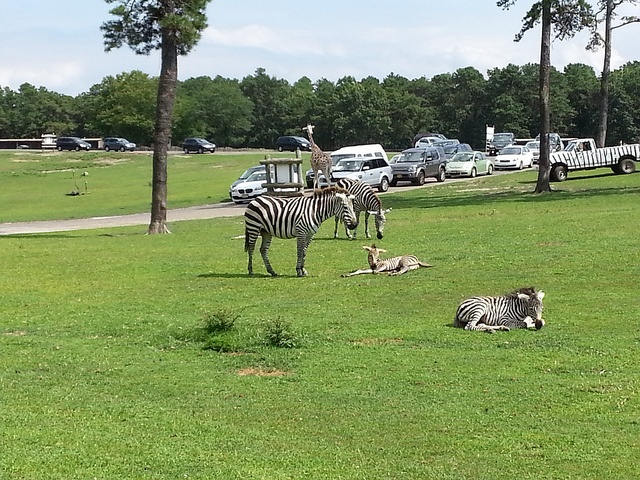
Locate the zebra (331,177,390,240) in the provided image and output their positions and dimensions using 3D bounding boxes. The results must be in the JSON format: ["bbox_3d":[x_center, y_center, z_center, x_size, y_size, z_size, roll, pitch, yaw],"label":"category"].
[{"bbox_3d":[1.733,-1.342,44.513,1.914,2.499,1.862,0,11,-1],"label":"zebra"}]

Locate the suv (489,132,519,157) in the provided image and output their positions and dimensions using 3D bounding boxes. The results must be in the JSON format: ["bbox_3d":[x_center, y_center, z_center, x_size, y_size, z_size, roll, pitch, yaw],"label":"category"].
[{"bbox_3d":[15.410,-8.046,95.130,1.431,1.227,2.871,0,9,20],"label":"suv"}]

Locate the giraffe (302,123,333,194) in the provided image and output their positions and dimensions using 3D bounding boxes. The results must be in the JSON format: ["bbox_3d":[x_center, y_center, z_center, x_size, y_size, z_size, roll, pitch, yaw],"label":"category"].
[{"bbox_3d":[-0.114,-4.038,57.810,1.416,4.267,1.380,-3,13,1],"label":"giraffe"}]

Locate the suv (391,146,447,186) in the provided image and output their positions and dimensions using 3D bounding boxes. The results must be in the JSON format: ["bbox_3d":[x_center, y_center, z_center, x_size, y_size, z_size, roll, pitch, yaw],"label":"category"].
[{"bbox_3d":[6.240,-4.650,70.734,2.515,2.282,4.799,3,8,32],"label":"suv"}]

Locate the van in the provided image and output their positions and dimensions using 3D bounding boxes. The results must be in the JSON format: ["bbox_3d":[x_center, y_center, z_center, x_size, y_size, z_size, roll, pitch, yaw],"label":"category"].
[{"bbox_3d":[1.940,-3.797,64.613,2.595,2.344,4.730,4,10,38],"label":"van"}]

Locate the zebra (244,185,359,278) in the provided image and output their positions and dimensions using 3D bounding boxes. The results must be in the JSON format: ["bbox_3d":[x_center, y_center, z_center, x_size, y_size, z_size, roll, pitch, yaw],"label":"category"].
[{"bbox_3d":[-0.778,-0.294,39.345,3.589,3.169,1.256,0,4,-10],"label":"zebra"}]

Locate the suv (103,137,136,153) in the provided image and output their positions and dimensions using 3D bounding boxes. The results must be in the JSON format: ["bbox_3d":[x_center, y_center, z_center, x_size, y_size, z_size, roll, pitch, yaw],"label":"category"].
[{"bbox_3d":[-21.873,-10.288,121.740,2.677,1.462,3.383,-2,5,-34],"label":"suv"}]

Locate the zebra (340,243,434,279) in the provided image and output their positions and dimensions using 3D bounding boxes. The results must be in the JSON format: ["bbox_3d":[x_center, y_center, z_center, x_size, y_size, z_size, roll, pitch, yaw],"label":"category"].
[{"bbox_3d":[2.378,0.735,39.129,3.519,1.390,1.172,0,-1,-10],"label":"zebra"}]
